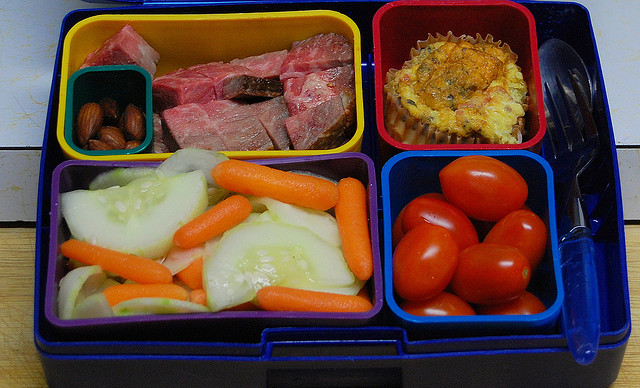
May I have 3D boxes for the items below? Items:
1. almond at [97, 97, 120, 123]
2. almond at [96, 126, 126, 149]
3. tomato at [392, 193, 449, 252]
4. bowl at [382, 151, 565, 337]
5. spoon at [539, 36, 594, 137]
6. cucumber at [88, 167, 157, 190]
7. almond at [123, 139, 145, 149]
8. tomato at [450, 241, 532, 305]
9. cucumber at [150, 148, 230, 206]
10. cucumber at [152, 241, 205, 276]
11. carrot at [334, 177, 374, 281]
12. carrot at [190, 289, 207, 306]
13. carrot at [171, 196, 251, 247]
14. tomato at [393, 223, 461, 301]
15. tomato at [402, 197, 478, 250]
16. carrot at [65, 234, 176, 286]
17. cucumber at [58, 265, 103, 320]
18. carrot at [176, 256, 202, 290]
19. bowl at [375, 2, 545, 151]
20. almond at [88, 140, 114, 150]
[{"bbox_3d":[-0.837,-0.337,2.288,0.071,0.057,0.095,-23,65,-15],"label":"almond"},{"bbox_3d":[-0.813,-0.224,2.252,0.110,0.039,0.076,34,78,-2],"label":"almond"},{"bbox_3d":[0.357,0.102,2.013,0.115,0.205,0.156,21,19,5],"label":"tomato"},{"bbox_3d":[0.500,0.149,1.926,0.578,0.348,0.565,-1,49,1],"label":"bowl"},{"bbox_3d":[0.958,-0.425,2.256,0.238,0.073,0.370,-9,85,14],"label":"spoon"},{"bbox_3d":[-0.746,-0.057,2.086,0.255,0.253,0.067,-7,94,-7],"label":"cucumber"},{"bbox_3d":[-0.726,-0.195,2.223,0.047,0.035,0.060,-18,11,6],"label":"almond"},{"bbox_3d":[0.554,0.270,1.892,0.247,0.190,0.186,3,21,35],"label":"tomato"},{"bbox_3d":[-0.453,-0.089,2.008,0.201,0.060,0.186,-14,79,-1],"label":"cucumber"},{"bbox_3d":[-0.465,0.211,1.910,0.120,0.034,0.126,35,76,19],"label":"cucumber"},{"bbox_3d":[0.108,0.083,2.074,0.177,0.166,0.559,3,26,-4],"label":"carrot"},{"bbox_3d":[-0.392,0.330,1.836,0.051,0.027,0.050,-11,76,-14],"label":"carrot"},{"bbox_3d":[-0.355,0.092,1.932,0.321,0.097,0.102,-26,98,-9],"label":"carrot"},{"bbox_3d":[0.329,0.213,1.913,0.192,0.194,0.249,41,89,2],"label":"tomato"},{"bbox_3d":[0.415,0.064,1.971,0.217,0.158,0.158,7,37,23],"label":"tomato"},{"bbox_3d":[-0.675,0.219,1.902,0.402,0.093,0.083,12,28,13],"label":"carrot"},{"bbox_3d":[-0.787,0.295,1.841,0.065,0.149,0.157,24,11,0],"label":"cucumber"},{"bbox_3d":[-0.423,0.266,1.896,0.100,0.065,0.079,-21,76,13],"label":"carrot"},{"bbox_3d":[0.519,-0.416,2.178,0.626,0.340,0.601,-1,49,1],"label":"bowl"},{"bbox_3d":[-0.845,-0.189,2.212,0.080,0.040,0.026,29,15,3],"label":"almond"}]
